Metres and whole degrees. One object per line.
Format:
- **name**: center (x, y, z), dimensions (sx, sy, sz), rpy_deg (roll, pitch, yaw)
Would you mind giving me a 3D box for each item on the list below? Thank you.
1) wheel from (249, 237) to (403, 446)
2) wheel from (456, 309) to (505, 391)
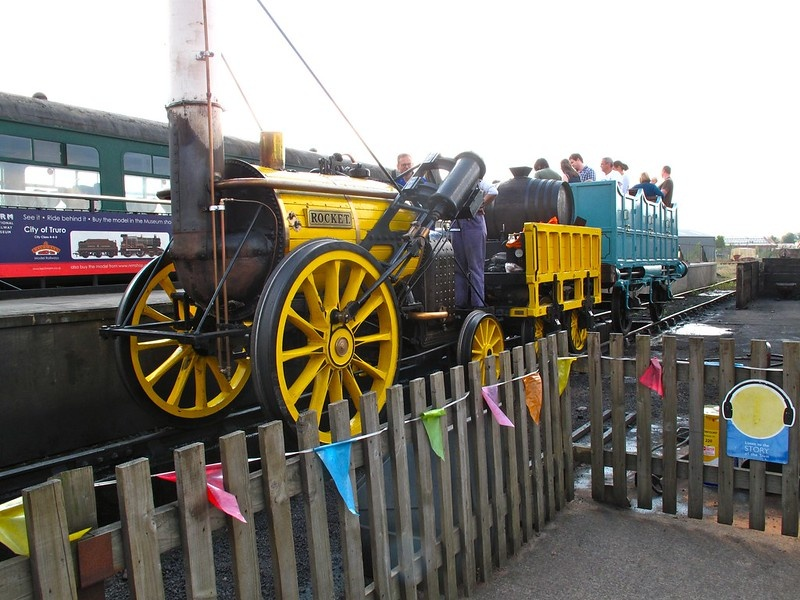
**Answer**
- **wheel**: center (-0.575, 0.262, 4.745), dimensions (0.269, 2.095, 1.700), rpy_deg (0, 2, 37)
- **wheel**: center (0.723, 0.454, 5.631), dimensions (0.192, 0.962, 0.768), rpy_deg (2, 1, 35)
